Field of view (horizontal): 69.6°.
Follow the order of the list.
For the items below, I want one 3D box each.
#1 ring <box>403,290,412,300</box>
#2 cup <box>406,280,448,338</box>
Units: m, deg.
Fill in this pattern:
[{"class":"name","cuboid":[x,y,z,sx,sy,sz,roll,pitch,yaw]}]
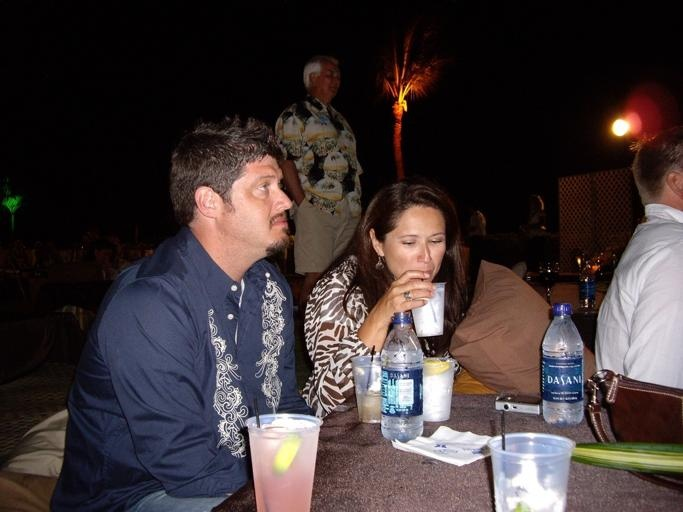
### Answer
[{"class":"ring","cuboid":[0.302,0.179,2.238,0.034,0.037,0.032,-2,28,1]},{"class":"cup","cuboid":[0.411,0.257,2.355,0.206,0.242,0.224,0,1,0]}]
